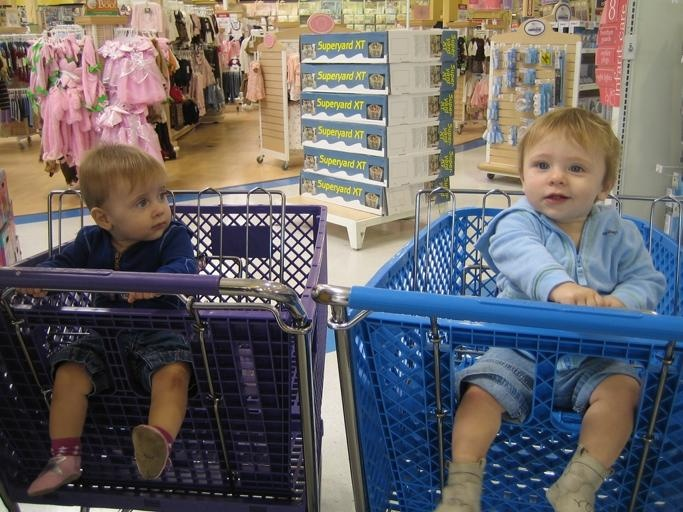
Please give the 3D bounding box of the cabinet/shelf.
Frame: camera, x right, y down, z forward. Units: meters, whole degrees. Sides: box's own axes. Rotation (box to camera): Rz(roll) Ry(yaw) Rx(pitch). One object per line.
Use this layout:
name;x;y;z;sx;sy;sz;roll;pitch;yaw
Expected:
cabinet/shelf;0.795;-1.201;5.200;1.696;2.487;1.668;19;29;40

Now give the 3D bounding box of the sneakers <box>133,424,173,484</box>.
sneakers;-0.443;0.447;1.342;0.073;0.147;0.043;4;12;13

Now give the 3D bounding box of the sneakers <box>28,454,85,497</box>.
sneakers;-0.705;0.533;1.451;0.148;0.101;0.077;-9;-6;-46

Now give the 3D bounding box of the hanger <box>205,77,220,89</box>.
hanger;-2.617;-3.466;11.534;0.177;0.127;0.293;12;35;19

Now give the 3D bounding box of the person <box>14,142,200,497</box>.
person;-0.717;0.078;1.821;0.505;0.837;1.302;2;14;-21

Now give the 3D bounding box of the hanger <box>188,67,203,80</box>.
hanger;-2.649;-3.325;10.477;0.285;0.400;0.138;-1;-28;-14

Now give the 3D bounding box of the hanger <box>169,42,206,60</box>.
hanger;-2.754;-3.703;10.339;0.657;0.184;0.639;-20;32;-40
